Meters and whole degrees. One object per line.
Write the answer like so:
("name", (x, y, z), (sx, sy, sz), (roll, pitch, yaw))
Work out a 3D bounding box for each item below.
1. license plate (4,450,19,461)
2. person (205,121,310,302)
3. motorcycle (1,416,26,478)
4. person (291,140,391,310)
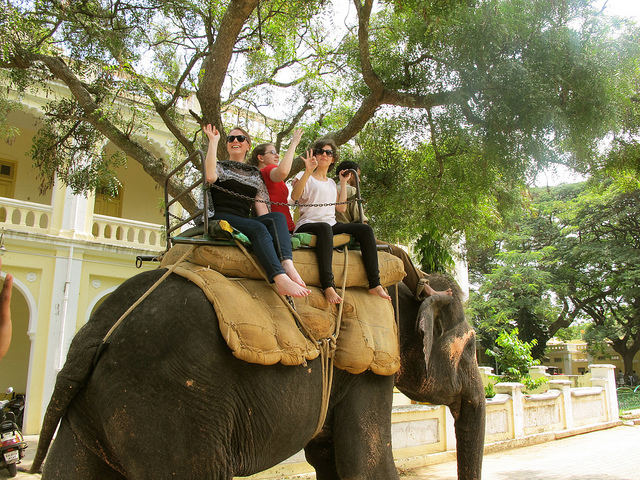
("license plate", (-4.642, 3.248, 7.109), (0.156, 0.123, 0.086), (7, -2, -33))
("person", (-0.471, -0.229, 3.168), (0.620, 1.281, 0.564), (-16, -17, 35))
("motorcycle", (-4.754, 3.184, 7.232), (0.337, 0.862, 0.386), (-2, -11, -2))
("person", (0.093, -0.199, 3.540), (0.542, 1.375, 0.756), (12, -17, -42))
